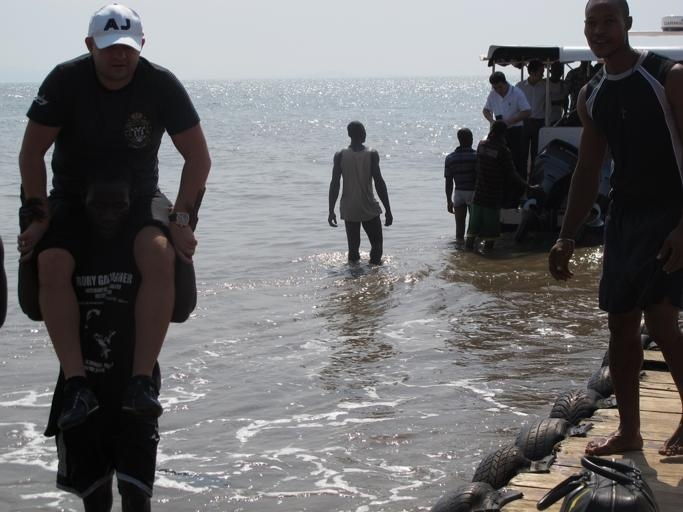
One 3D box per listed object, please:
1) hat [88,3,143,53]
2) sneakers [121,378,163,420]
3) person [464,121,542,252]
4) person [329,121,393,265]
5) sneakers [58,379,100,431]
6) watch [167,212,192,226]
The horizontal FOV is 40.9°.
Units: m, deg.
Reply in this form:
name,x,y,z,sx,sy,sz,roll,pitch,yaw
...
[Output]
name,x,y,z,sx,sy,sz,roll,pitch,yaw
hat,-1.327,-1.329,5.347,0.299,0.272,0.195,-7,14,-13
sneakers,-1.153,0.829,5.243,0.215,0.298,0.231,-7,14,-15
person,2.323,-1.046,14.162,0.490,2.139,1.093,-10,15,-23
person,0.242,-0.887,13.498,0.919,2.214,0.866,-4,14,1
sneakers,-1.489,0.821,5.154,0.199,0.241,0.227,-5,14,-6
watch,-0.982,-0.227,5.533,0.116,0.065,0.112,7,0,0
